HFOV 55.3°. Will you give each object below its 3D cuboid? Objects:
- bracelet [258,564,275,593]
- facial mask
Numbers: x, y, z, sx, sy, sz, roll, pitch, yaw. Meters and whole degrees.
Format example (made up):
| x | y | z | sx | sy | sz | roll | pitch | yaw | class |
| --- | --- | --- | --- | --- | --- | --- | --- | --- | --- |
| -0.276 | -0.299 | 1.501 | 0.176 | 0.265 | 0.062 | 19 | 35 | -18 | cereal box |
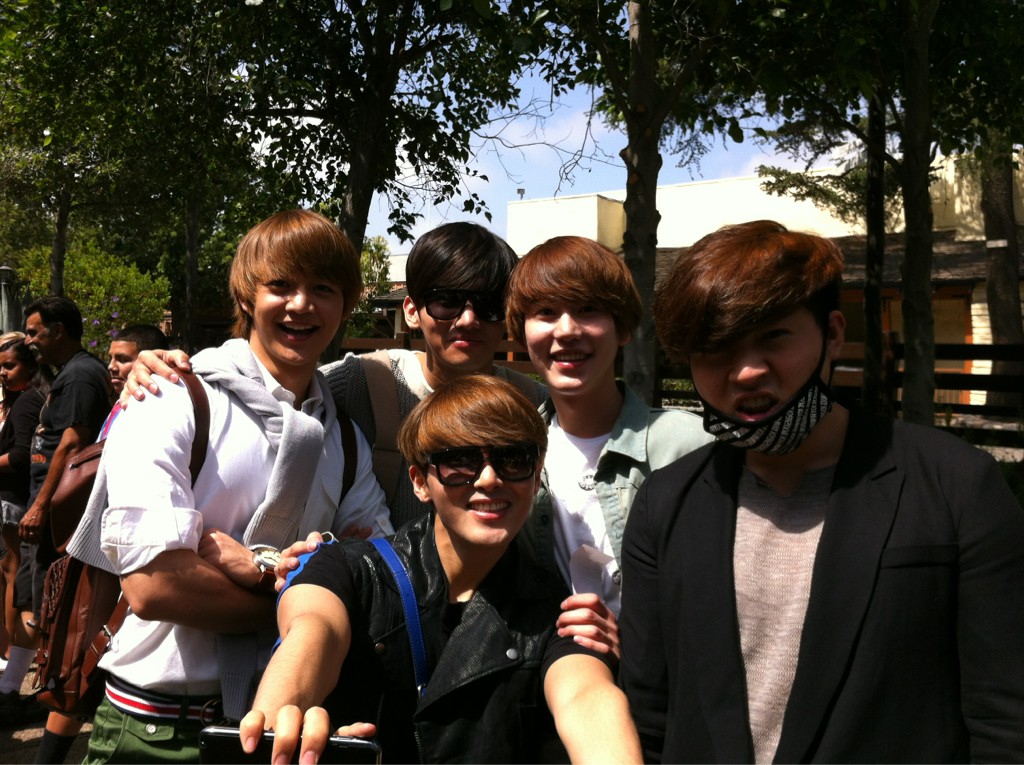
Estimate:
| x | y | z | sx | sy | sz | roll | pitch | yaw | class |
| --- | --- | --- | --- | --- | --- | --- | --- | --- | --- |
| -0.963 | 0.757 | 3.794 | 0.067 | 0.112 | 0.025 | 0 | 4 | -12 | bracelet |
| 0.901 | 0.020 | 3.480 | 0.374 | 0.238 | 0.417 | -24 | 13 | 26 | facial mask |
